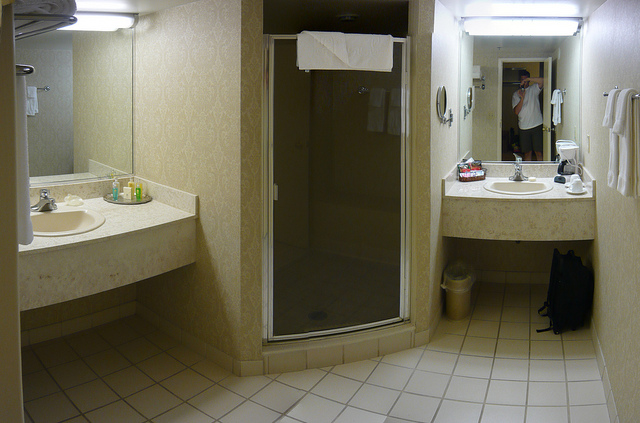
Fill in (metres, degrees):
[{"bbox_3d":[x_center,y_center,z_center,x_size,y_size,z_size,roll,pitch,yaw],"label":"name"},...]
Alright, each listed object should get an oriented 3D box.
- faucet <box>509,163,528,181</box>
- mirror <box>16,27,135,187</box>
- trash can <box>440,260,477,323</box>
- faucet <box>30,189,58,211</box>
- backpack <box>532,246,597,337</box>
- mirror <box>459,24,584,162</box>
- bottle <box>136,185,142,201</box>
[{"bbox_3d":[1.921,-0.377,4.705,0.155,0.169,0.175,-2,16,17],"label":"faucet"},{"bbox_3d":[-1.952,-0.875,3.845,1.254,1.420,0.074,-2,8,-24],"label":"mirror"},{"bbox_3d":[1.228,0.743,4.384,0.317,0.440,0.265,-11,20,-14],"label":"trash can"},{"bbox_3d":[-2.186,-0.090,3.765,0.118,0.167,0.236,3,2,33],"label":"faucet"},{"bbox_3d":[2.187,0.650,4.254,0.483,0.666,0.475,-11,15,-41],"label":"backpack"},{"bbox_3d":[1.995,-1.204,4.730,1.231,1.749,0.046,0,6,11],"label":"mirror"},{"bbox_3d":[-1.522,-0.148,4.071,0.045,0.099,0.111,-6,19,-19],"label":"bottle"}]
